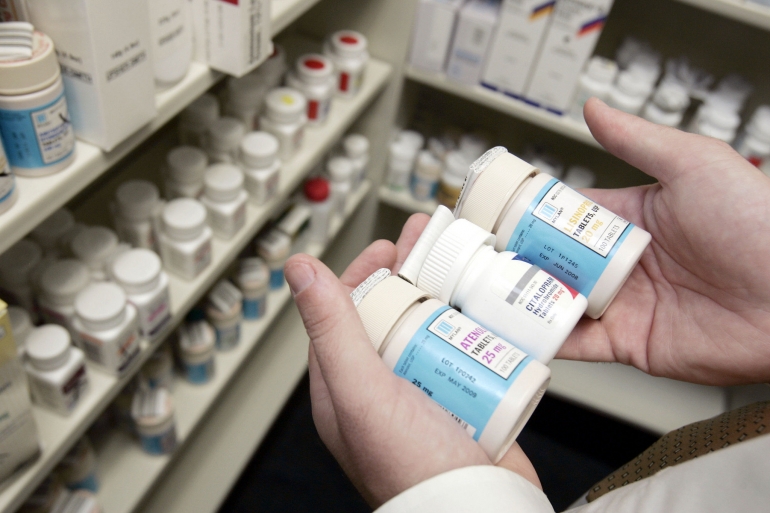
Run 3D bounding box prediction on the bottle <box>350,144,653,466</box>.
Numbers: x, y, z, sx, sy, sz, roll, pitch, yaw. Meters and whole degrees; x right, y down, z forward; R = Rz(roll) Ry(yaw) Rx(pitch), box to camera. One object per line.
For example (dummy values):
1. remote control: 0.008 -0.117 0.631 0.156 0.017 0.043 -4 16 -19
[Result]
1. bottle: 0.174 0.187 1.197 0.442 0.220 0.651 33 60 16
